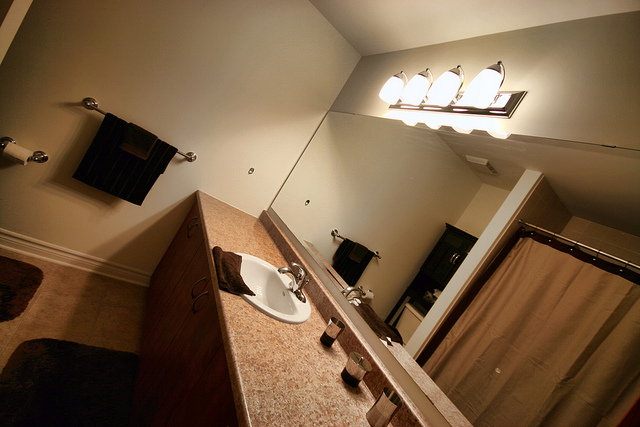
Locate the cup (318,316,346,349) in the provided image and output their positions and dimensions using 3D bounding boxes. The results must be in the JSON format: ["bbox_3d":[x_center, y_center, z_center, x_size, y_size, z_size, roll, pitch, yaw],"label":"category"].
[{"bbox_3d":[0.082,0.652,2.064,0.137,0.177,0.092,22,5,-29],"label":"cup"}]

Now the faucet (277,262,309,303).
[{"bbox_3d":[-0.189,0.404,2.360,0.233,0.186,0.128,11,-36,38],"label":"faucet"}]

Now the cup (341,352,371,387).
[{"bbox_3d":[0.187,0.785,1.887,0.137,0.174,0.094,24,5,-9],"label":"cup"}]

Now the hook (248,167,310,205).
[{"bbox_3d":[-0.348,-0.230,3.087,0.682,0.062,0.039,31,8,31],"label":"hook"}]
